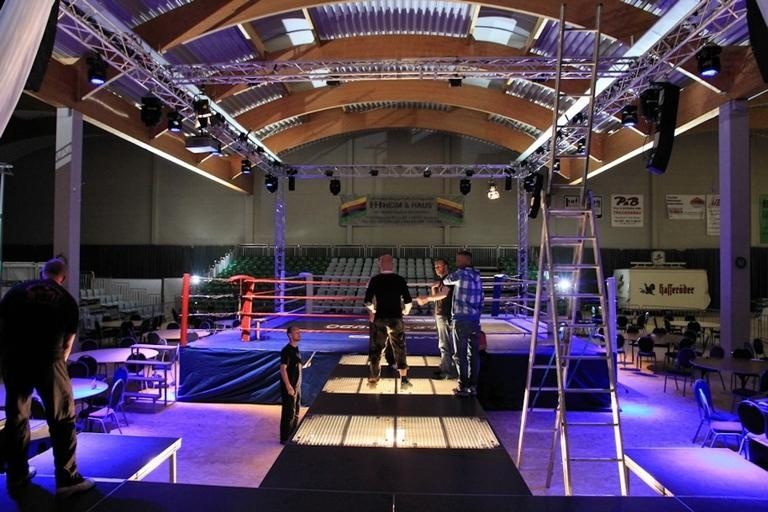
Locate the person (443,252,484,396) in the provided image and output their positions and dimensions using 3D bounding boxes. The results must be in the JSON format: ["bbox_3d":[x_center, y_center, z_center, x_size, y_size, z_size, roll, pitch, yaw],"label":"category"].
[{"bbox_3d":[1.224,1.011,8.300,0.560,2.181,0.685,0,-2,8],"label":"person"}]

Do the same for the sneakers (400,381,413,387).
[{"bbox_3d":[0.365,1.982,8.404,0.115,0.088,0.268,-2,-4,36],"label":"sneakers"}]

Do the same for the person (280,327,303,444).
[{"bbox_3d":[-1.526,2.140,8.956,0.317,1.944,0.521,1,-2,-11],"label":"person"}]

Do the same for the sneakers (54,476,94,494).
[{"bbox_3d":[-3.267,2.437,5.784,0.380,0.163,0.135,3,-4,-40],"label":"sneakers"}]

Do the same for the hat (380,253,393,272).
[{"bbox_3d":[0.037,0.111,8.455,0.262,0.350,0.254,1,-7,-5],"label":"hat"}]

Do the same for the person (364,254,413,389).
[{"bbox_3d":[0.070,0.989,8.710,0.732,2.050,0.889,0,-2,1],"label":"person"}]

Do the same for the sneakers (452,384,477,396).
[{"bbox_3d":[1.195,1.991,8.038,0.368,0.158,0.148,1,-5,4],"label":"sneakers"}]

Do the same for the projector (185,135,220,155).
[{"bbox_3d":[-4.333,-2.709,13.028,0.603,0.410,0.638,0,-3,-2],"label":"projector"}]
